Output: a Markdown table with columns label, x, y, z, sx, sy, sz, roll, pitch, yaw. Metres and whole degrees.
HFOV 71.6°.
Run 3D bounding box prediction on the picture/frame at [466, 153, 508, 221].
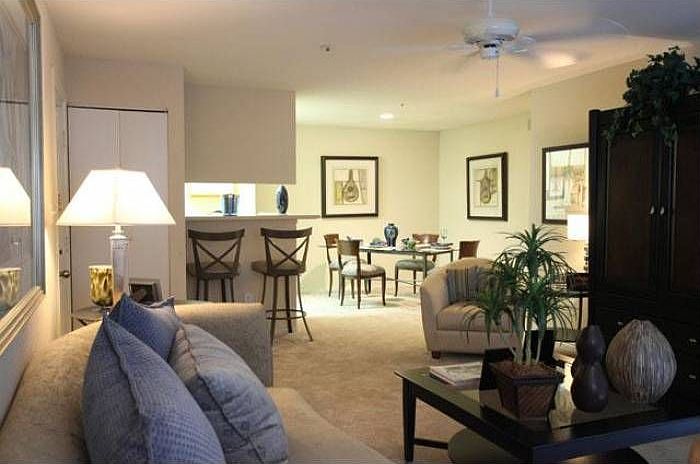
| label | x | y | z | sx | sy | sz | roll | pitch | yaw |
| --- | --- | --- | --- | --- | --- | --- | --- | --- | --- |
| picture/frame | 2.343 | -0.774 | 8.294 | 0.184 | 1.181 | 1.033 | -3 | 11 | -21 |

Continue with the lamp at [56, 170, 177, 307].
| label | x | y | z | sx | sy | sz | roll | pitch | yaw |
| --- | --- | --- | --- | --- | --- | --- | --- | --- | --- |
| lamp | -1.383 | 0.041 | 2.915 | 0.543 | 0.834 | 0.340 | 3 | 11 | 11 |

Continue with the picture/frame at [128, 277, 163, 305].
| label | x | y | z | sx | sy | sz | roll | pitch | yaw |
| --- | --- | --- | --- | --- | --- | --- | --- | --- | --- |
| picture/frame | -1.409 | 0.399 | 3.336 | 0.223 | 0.212 | 0.156 | 2 | 7 | -4 |

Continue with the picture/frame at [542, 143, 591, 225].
| label | x | y | z | sx | sy | sz | roll | pitch | yaw |
| --- | --- | --- | --- | --- | --- | --- | --- | --- | --- |
| picture/frame | 2.497 | -0.556 | 5.712 | 0.144 | 0.965 | 0.684 | -2 | 11 | -17 |

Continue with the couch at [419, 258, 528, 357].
| label | x | y | z | sx | sy | sz | roll | pitch | yaw |
| --- | --- | --- | --- | --- | --- | --- | --- | --- | --- |
| couch | 1.205 | 0.770 | 4.863 | 1.049 | 1.019 | 0.995 | -2 | -9 | 16 |

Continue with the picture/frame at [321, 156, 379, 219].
| label | x | y | z | sx | sy | sz | roll | pitch | yaw |
| --- | --- | --- | --- | --- | --- | --- | --- | --- | --- |
| picture/frame | -0.049 | -0.854 | 8.828 | 1.153 | 1.191 | 0.084 | 1 | 0 | -20 |

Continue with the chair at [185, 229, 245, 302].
| label | x | y | z | sx | sy | sz | roll | pitch | yaw |
| --- | --- | --- | --- | --- | --- | --- | --- | --- | --- |
| chair | -1.518 | 0.389 | 5.678 | 0.746 | 1.229 | 0.828 | -1 | 4 | -18 |
